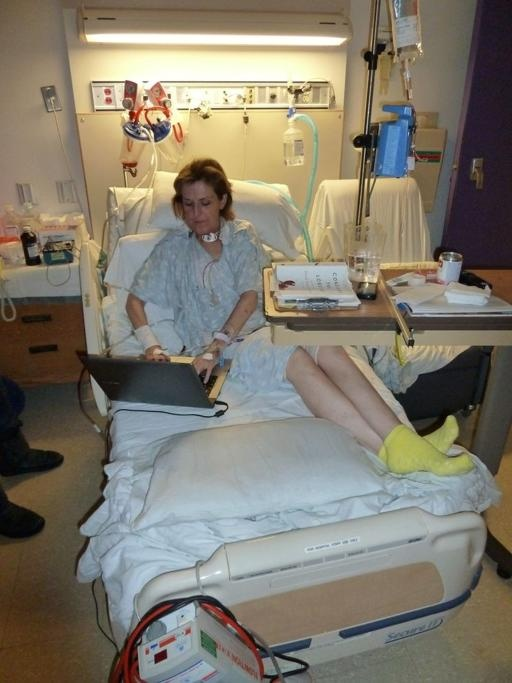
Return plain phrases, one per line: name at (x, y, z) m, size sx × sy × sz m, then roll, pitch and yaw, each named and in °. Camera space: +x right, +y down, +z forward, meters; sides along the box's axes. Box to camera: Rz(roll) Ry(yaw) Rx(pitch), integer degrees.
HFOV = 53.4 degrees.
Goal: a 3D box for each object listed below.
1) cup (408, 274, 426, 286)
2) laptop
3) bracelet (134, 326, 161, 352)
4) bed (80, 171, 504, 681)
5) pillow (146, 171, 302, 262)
cup at (0.455, -0.171, 1.431) m, size 0.038 × 0.027 × 0.038 m, roll -1°, pitch 22°, yaw 0°
laptop at (-0.300, 0.125, 1.457) m, size 0.307 × 0.198 × 0.206 m, roll 1°, pitch 52°, yaw 13°
bracelet at (-0.393, -0.008, 1.811) m, size 0.048 × 0.060 × 0.077 m, roll -33°, pitch 68°, yaw -11°
bed at (-0.083, 0.076, 1.562) m, size 1.001 × 0.857 × 1.457 m, roll -9°, pitch 34°, yaw -20°
pillow at (-0.169, -0.505, 2.460) m, size 0.558 × 0.155 × 0.479 m, roll 9°, pitch 41°, yaw -26°
